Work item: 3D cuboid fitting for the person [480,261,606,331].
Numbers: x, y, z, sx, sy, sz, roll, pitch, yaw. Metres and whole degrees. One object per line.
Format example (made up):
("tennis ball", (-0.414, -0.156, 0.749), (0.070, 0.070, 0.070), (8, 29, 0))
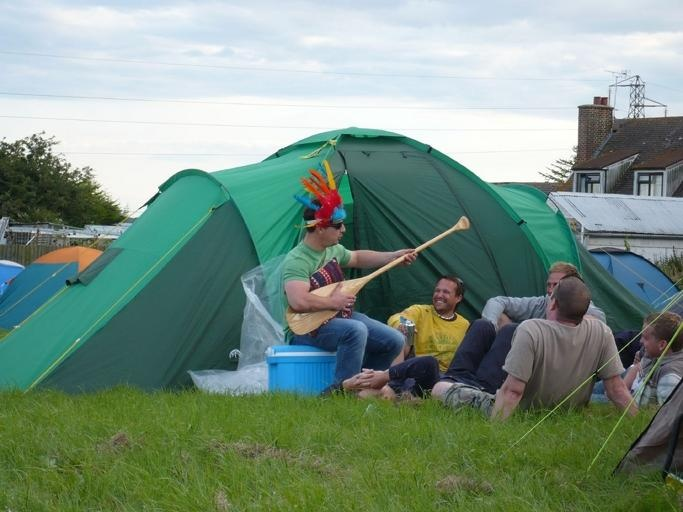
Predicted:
("person", (1.767, 0.450, 6.447), (0.827, 0.290, 0.809), (-5, -1, -5))

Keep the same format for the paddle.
("paddle", (0.417, 0.183, 6.631), (2.342, 0.183, 0.406), (-22, 54, -23))

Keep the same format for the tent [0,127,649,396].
("tent", (-0.558, 0.045, 7.177), (4.375, 1.447, 2.944), (-2, 0, -22))

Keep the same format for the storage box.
("storage box", (-0.279, 0.934, 6.007), (0.671, 0.434, 0.423), (-1, 6, -12))

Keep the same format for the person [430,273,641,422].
("person", (1.416, 0.605, 4.790), (1.266, 0.976, 0.523), (-2, 9, -3))
